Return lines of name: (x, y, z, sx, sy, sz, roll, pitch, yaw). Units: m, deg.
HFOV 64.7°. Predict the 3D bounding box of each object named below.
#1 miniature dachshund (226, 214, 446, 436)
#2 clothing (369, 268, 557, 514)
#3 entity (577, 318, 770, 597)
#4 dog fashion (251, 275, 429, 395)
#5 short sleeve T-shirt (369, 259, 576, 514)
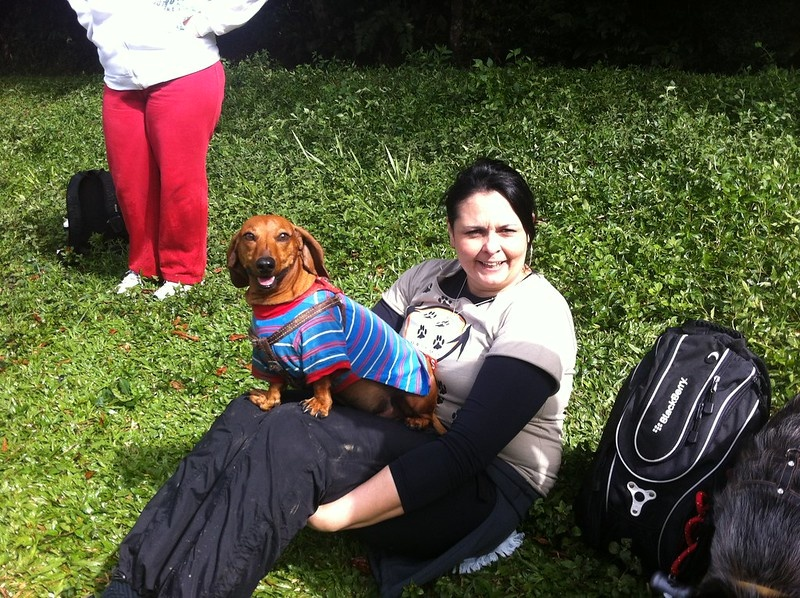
miniature dachshund: (-0.387, 0.178, 3.545, 1.224, 0.968, 0.909, 23, -20, -26)
clothing: (0.385, 0.307, 3.189, 1.041, 0.786, 1.125, -7, 35, -18)
entity: (1.506, 0.856, 3.254, 0.806, 1.299, 0.828, 9, 4, -34)
dog fashion: (-0.295, 0.232, 3.451, 0.971, 0.643, 0.689, 1, -6, -20)
short sleeve T-shirt: (0.366, 0.470, 3.161, 0.659, 1.006, 1.163, 2, 11, -27)
